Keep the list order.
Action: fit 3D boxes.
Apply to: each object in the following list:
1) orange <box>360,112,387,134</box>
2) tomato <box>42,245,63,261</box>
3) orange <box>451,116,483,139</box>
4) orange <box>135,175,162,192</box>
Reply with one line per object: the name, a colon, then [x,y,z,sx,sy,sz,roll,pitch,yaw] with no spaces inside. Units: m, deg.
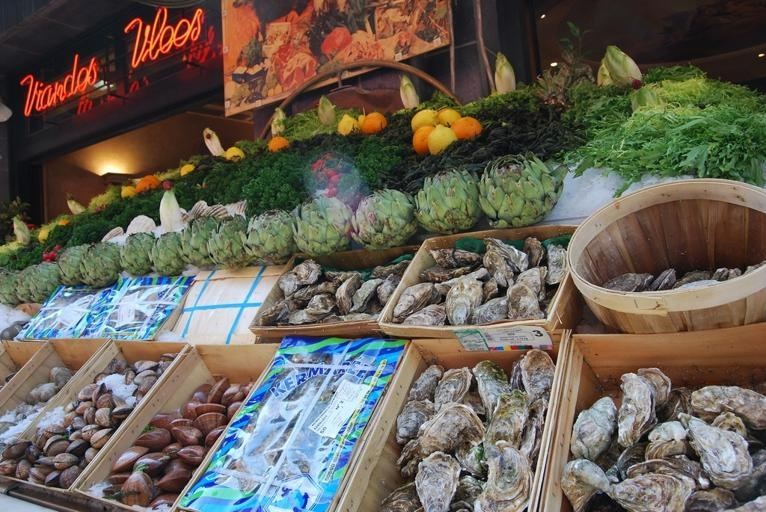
orange: [-0.077,-0.978,3.503,0.214,0.153,0.323,-18,14,4]
tomato: [-3.300,-0.024,4.724,0.158,0.078,0.062,-42,-17,-6]
orange: [0.543,-0.827,3.062,0.187,0.129,0.182,-17,14,12]
orange: [-2.383,-0.727,4.779,0.258,0.139,0.411,-25,15,-22]
